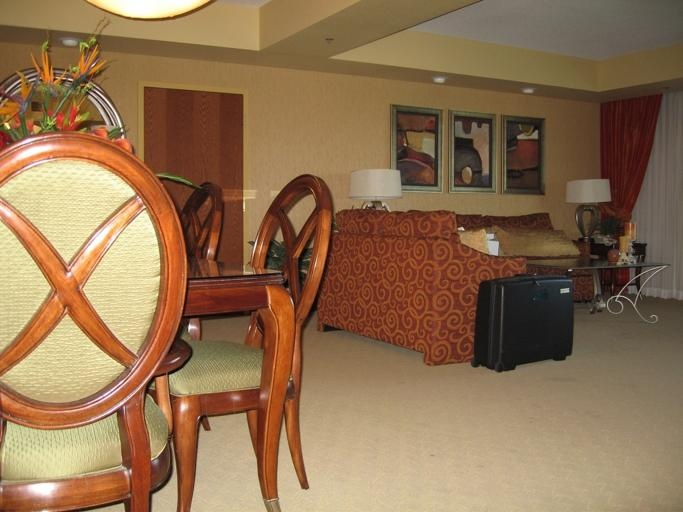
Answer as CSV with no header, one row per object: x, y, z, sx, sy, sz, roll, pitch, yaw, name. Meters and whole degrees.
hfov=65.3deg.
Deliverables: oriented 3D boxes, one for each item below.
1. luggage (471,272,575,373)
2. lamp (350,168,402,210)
1.242,0.462,3.703,0.558,0.544,0.275,-5,11,-22,luggage
0.352,-0.807,5.828,0.493,0.586,0.506,-9,14,-34,lamp
